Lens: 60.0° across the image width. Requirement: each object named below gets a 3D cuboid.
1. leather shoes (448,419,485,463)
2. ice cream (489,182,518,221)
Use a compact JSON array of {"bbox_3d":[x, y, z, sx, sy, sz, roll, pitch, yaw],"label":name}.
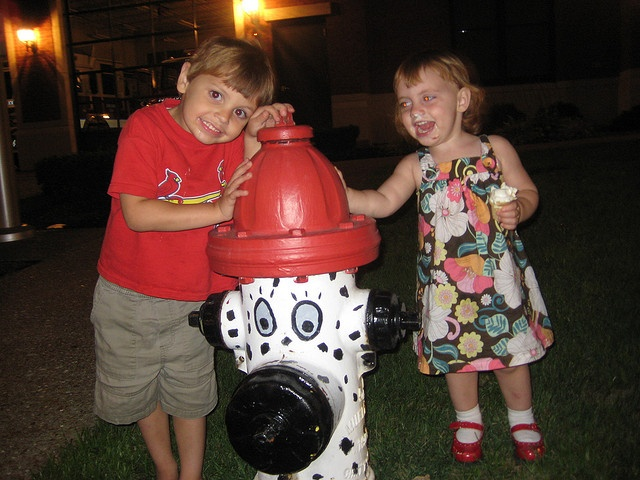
[{"bbox_3d":[0.718,0.978,2.716,0.099,0.087,0.240,0,10,14],"label":"leather shoes"},{"bbox_3d":[0.815,-0.184,2.500,0.148,0.176,0.157,-5,5,-36],"label":"ice cream"}]
